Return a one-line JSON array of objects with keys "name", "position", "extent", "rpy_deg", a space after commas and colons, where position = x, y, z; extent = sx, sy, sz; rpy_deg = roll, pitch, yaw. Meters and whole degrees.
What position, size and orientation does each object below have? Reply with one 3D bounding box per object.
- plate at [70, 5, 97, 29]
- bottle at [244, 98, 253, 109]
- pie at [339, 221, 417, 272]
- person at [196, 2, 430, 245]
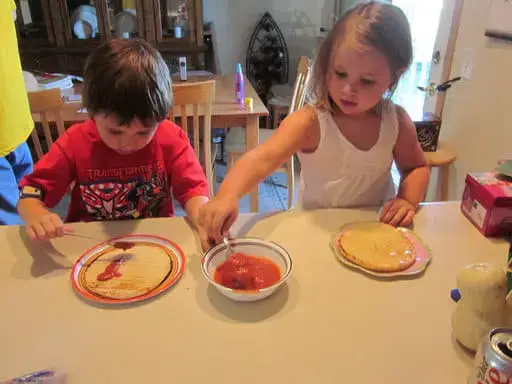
[{"name": "plate", "position": [-1.810, -1.817, 3.988], "extent": [0.257, 0.233, 0.064], "rpy_deg": [0, 22, 1]}, {"name": "bottle", "position": [-0.041, -0.605, 2.623], "extent": [0.071, 0.086, 0.076], "rpy_deg": [0, 24, 2]}, {"name": "pie", "position": [0.372, 0.165, 1.155], "extent": [0.131, 0.017, 0.149], "rpy_deg": [0, 34, 1]}, {"name": "person", "position": [0.196, -0.298, 1.545], "extent": [0.645, 1.068, 0.919], "rpy_deg": [11, 47, 14]}]
